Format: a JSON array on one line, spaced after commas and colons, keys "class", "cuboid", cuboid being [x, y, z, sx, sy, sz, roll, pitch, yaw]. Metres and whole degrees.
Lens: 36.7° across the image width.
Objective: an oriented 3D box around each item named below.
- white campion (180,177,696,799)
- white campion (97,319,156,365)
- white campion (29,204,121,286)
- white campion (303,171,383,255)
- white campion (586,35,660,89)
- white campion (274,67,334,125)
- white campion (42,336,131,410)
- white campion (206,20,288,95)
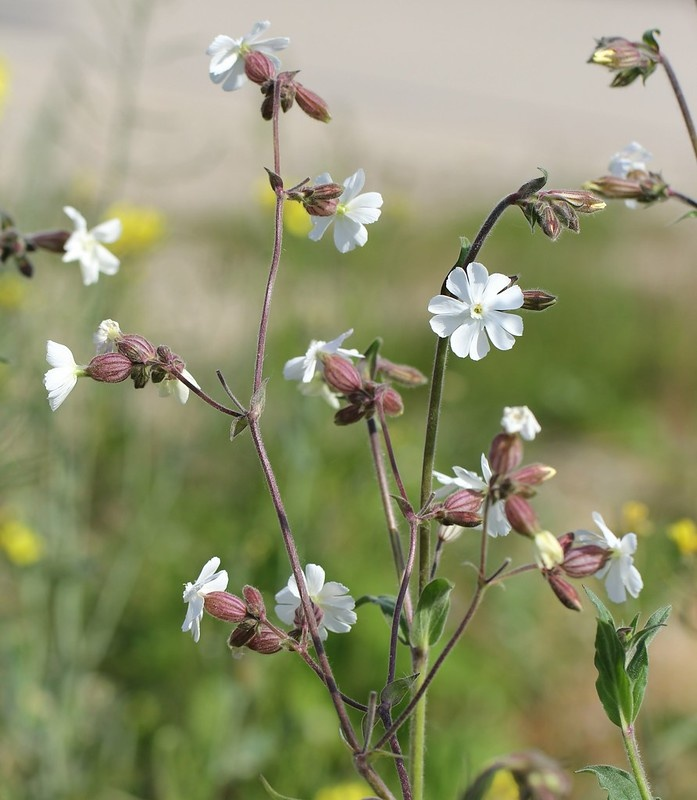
[{"class": "white campion", "cuboid": [0.149, 0.380, 2.279, 1.031, 1.729, 0.799, 5, 18, 0]}, {"class": "white campion", "cuboid": [-0.474, -0.128, 2.228, 0.155, 0.071, 0.083, 20, 25, 31]}, {"class": "white campion", "cuboid": [-0.549, -0.326, 2.176, 0.171, 0.065, 0.154, 50, 10, 5]}, {"class": "white campion", "cuboid": [-0.021, -0.433, 2.314, 0.187, 0.057, 0.184, -42, 6, -19]}, {"class": "white campion", "cuboid": [0.630, -0.789, 2.458, 0.175, 0.117, 0.186, 5, 21, -2]}, {"class": "white campion", "cuboid": [-0.100, -0.687, 2.372, 0.117, 0.112, 0.255, 4, 22, -4]}, {"class": "white campion", "cuboid": [-0.572, -0.060, 2.269, 0.174, 0.143, 0.117, 3, -2, 2]}, {"class": "white campion", "cuboid": [-0.233, -0.762, 2.330, 0.173, 0.158, 0.166, -2, 22, -21]}]
